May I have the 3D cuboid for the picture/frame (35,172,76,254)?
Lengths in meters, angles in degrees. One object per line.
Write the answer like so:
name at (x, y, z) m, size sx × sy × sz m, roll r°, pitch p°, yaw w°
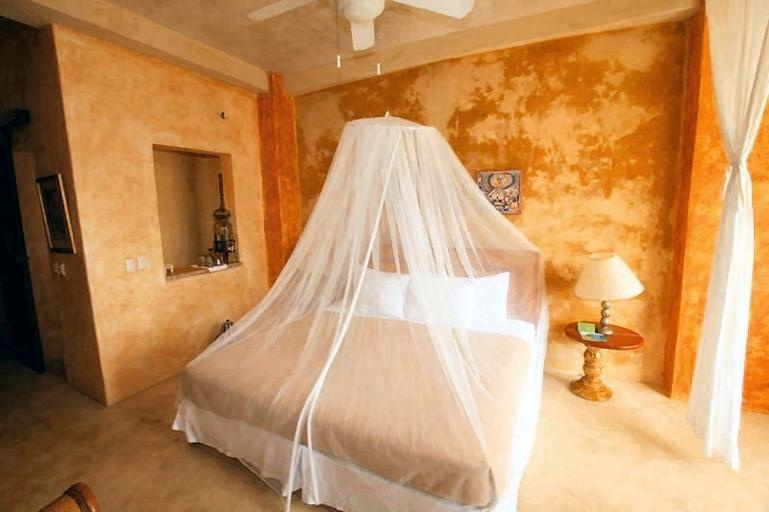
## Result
picture/frame at (-2.996, -0.422, 5.110) m, size 0.051 × 0.691 × 0.621 m, roll -17°, pitch 29°, yaw -41°

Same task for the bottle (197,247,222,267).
bottle at (-1.921, 0.015, 6.133) m, size 0.214 × 0.141 × 0.119 m, roll 4°, pitch 16°, yaw 15°

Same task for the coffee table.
coffee table at (1.990, 0.988, 5.285) m, size 0.703 × 0.619 × 0.713 m, roll -5°, pitch 9°, yaw -25°
